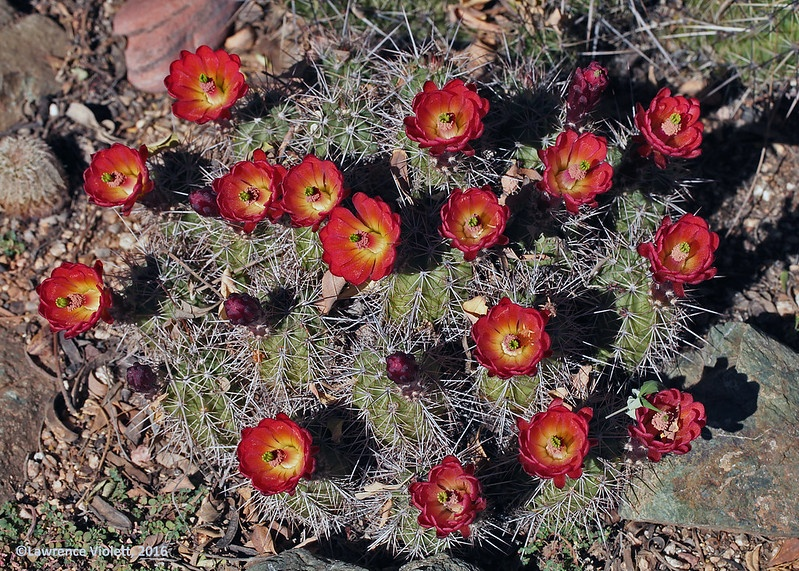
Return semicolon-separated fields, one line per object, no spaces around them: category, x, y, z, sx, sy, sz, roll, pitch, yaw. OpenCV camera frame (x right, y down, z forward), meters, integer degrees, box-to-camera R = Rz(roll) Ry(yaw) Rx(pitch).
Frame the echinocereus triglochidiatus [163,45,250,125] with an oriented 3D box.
echinocereus triglochidiatus;-1.365;-1.404;5.070;0.623;0.642;0.327;-13;78;-36

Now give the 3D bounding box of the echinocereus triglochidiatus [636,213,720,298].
echinocereus triglochidiatus;1.815;-0.249;4.665;0.475;0.212;0.445;4;86;0

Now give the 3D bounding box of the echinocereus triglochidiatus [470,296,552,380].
echinocereus triglochidiatus;0.693;0.322;4.502;0.471;0.330;0.495;-3;86;-1

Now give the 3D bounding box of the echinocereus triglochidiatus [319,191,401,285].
echinocereus triglochidiatus;-0.259;-0.311;4.550;0.516;0.223;0.558;19;86;1

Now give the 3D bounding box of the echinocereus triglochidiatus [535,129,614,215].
echinocereus triglochidiatus;1.154;-0.776;4.660;0.532;0.195;0.472;-35;87;-3

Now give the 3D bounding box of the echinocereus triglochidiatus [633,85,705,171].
echinocereus triglochidiatus;1.827;-1.065;4.976;0.438;0.544;0.483;-15;86;-1

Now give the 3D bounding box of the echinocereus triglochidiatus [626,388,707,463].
echinocereus triglochidiatus;1.714;0.887;4.629;0.404;0.213;0.472;37;86;2

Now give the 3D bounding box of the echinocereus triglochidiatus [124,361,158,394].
echinocereus triglochidiatus;-1.833;0.672;5.086;0.188;0.206;0.214;5;86;0

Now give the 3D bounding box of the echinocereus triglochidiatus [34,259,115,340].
echinocereus triglochidiatus;-2.178;0.068;4.781;0.452;0.365;0.519;-24;86;-2

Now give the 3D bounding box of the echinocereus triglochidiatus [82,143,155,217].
echinocereus triglochidiatus;-1.891;-0.757;4.835;0.442;0.194;0.481;19;86;1

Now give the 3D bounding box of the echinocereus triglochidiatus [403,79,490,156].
echinocereus triglochidiatus;0.306;-1.079;4.569;0.550;0.210;0.447;-21;86;-2

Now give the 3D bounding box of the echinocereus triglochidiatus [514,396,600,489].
echinocereus triglochidiatus;0.988;0.990;4.626;0.589;0.601;0.309;-4;96;-2

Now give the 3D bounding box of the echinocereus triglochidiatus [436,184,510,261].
echinocereus triglochidiatus;0.472;-0.439;4.533;0.409;0.219;0.437;45;87;3

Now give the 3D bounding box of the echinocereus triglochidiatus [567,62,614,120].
echinocereus triglochidiatus;1.276;-1.338;4.916;0.223;0.304;0.368;18;86;1

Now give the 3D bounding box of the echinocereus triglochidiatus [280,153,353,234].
echinocereus triglochidiatus;-0.577;-0.577;4.673;0.432;0.227;0.481;8;92;7

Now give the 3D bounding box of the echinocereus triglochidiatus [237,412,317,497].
echinocereus triglochidiatus;-0.725;1.089;4.520;0.244;0.505;0.525;21;86;-29
